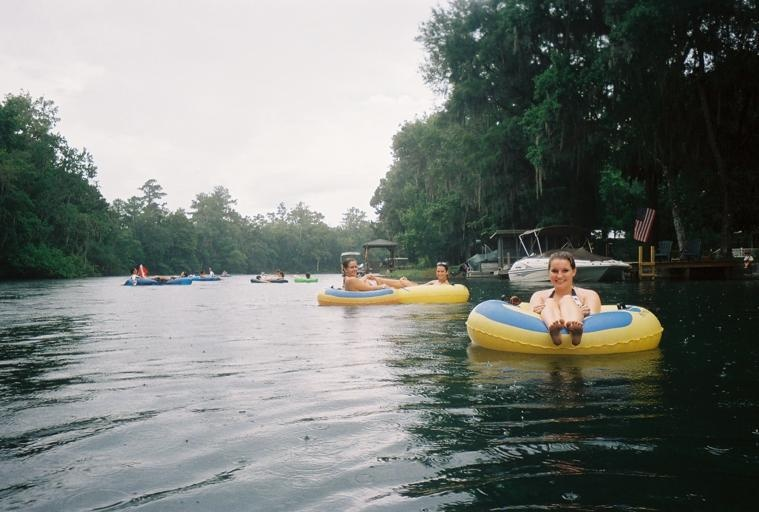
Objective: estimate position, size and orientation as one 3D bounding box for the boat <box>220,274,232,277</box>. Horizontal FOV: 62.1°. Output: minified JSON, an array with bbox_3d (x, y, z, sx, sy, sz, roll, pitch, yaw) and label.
[{"bbox_3d":[-18.199,2.258,74.433,0.874,0.442,1.089,0,-7,-12],"label":"boat"}]

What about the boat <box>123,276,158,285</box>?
[{"bbox_3d":[-14.565,1.607,38.623,1.166,0.434,1.051,3,-9,-12],"label":"boat"}]

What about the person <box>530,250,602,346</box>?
[{"bbox_3d":[2.713,0.713,9.247,0.711,0.945,1.618,-2,-12,16],"label":"person"}]
